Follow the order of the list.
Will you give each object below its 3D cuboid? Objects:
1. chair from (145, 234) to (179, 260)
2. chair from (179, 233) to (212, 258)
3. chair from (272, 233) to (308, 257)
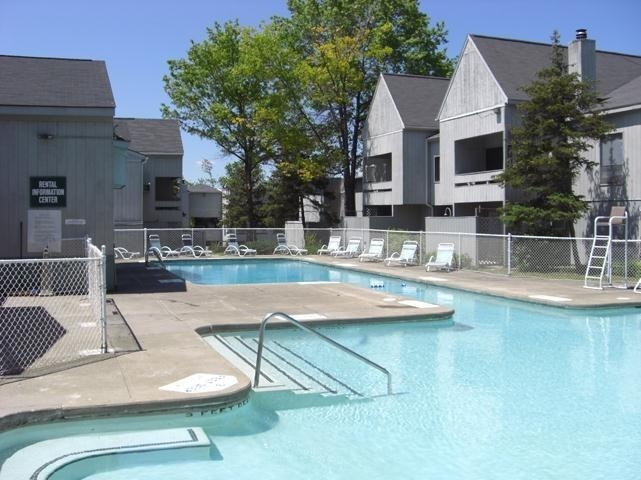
[{"bbox_3d":[-9.028,0.305,28.851,2.106,1.288,1.302,0,0,6],"label":"chair"},{"bbox_3d":[-7.459,0.227,30.763,1.660,1.227,4.566,1,6,-15],"label":"chair"},{"bbox_3d":[-2.082,0.238,31.987,2.236,1.174,1.217,7,8,37],"label":"chair"}]
